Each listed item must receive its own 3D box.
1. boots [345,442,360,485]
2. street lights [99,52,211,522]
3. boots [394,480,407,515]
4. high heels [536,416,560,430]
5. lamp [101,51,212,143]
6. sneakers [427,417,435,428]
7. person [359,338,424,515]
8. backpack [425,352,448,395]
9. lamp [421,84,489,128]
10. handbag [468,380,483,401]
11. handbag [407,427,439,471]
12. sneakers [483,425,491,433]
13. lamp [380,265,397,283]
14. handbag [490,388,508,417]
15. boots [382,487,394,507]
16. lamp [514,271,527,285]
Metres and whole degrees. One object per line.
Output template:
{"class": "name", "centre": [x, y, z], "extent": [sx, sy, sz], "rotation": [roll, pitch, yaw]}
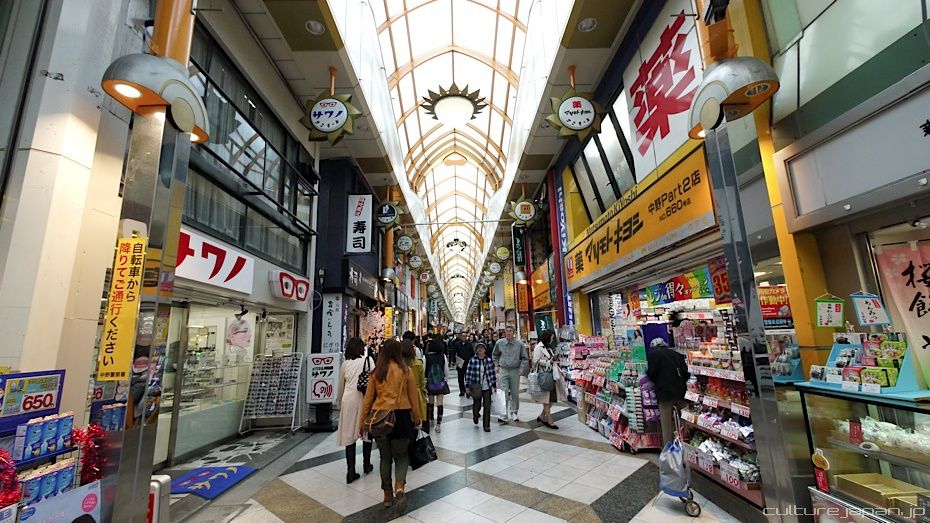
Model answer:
{"class": "boots", "centre": [-1.467, 2.584, 6.260], "extent": [0.136, 0.506, 0.261], "rotation": [-2, 3, 0]}
{"class": "street lights", "centre": [-3.219, 0.226, 4.910], "extent": [0.984, 4.669, 0.395], "rotation": [-4, 3, -36]}
{"class": "boots", "centre": [-0.736, 2.704, 5.499], "extent": [0.123, 0.337, 0.150], "rotation": [-3, 4, -6]}
{"class": "high heels", "centre": [1.392, 2.730, 8.149], "extent": [0.330, 0.128, 0.118], "rotation": [1, -17, 35]}
{"class": "lamp", "centre": [-3.302, -1.893, 5.247], "extent": [0.644, 0.744, 1.214], "rotation": [8, -14, 3]}
{"class": "sneakers", "centre": [-0.572, 2.739, 8.163], "extent": [0.118, 0.138, 0.337], "rotation": [1, -18, -4]}
{"class": "person", "centre": [-0.873, 1.911, 5.697], "extent": [0.752, 1.899, 0.637], "rotation": [-2, 3, -6]}
{"class": "backpack", "centre": [-0.469, 1.874, 8.001], "extent": [0.388, 0.772, 0.276], "rotation": [-3, 3, -17]}
{"class": "lamp", "centre": [-0.195, -3.300, 9.800], "extent": [1.070, 0.798, 1.032], "rotation": [-1, 4, 7]}
{"class": "handbag", "centre": [0.174, 2.210, 8.148], "extent": [0.219, 0.395, 0.308], "rotation": [-3, 4, -23]}
{"class": "handbag", "centre": [-0.506, 2.228, 5.808], "extent": [0.316, 0.411, 0.217], "rotation": [-17, -6, 22]}
{"class": "sneakers", "centre": [0.364, 2.755, 7.919], "extent": [0.076, 0.081, 0.198], "rotation": [2, -17, -8]}
{"class": "lamp", "centre": [-2.398, 0.357, 14.635], "extent": [0.507, 0.471, 0.497], "rotation": [-13, -26, 23]}
{"class": "handbag", "centre": [0.590, 2.421, 8.092], "extent": [0.239, 0.603, 0.493], "rotation": [-1, 3, 5]}
{"class": "boots", "centre": [-0.886, 2.776, 5.675], "extent": [0.085, 0.234, 0.165], "rotation": [-3, 6, -1]}
{"class": "lamp", "centre": [2.050, 0.595, 17.448], "extent": [0.386, 0.393, 0.410], "rotation": [1, 1, -6]}
